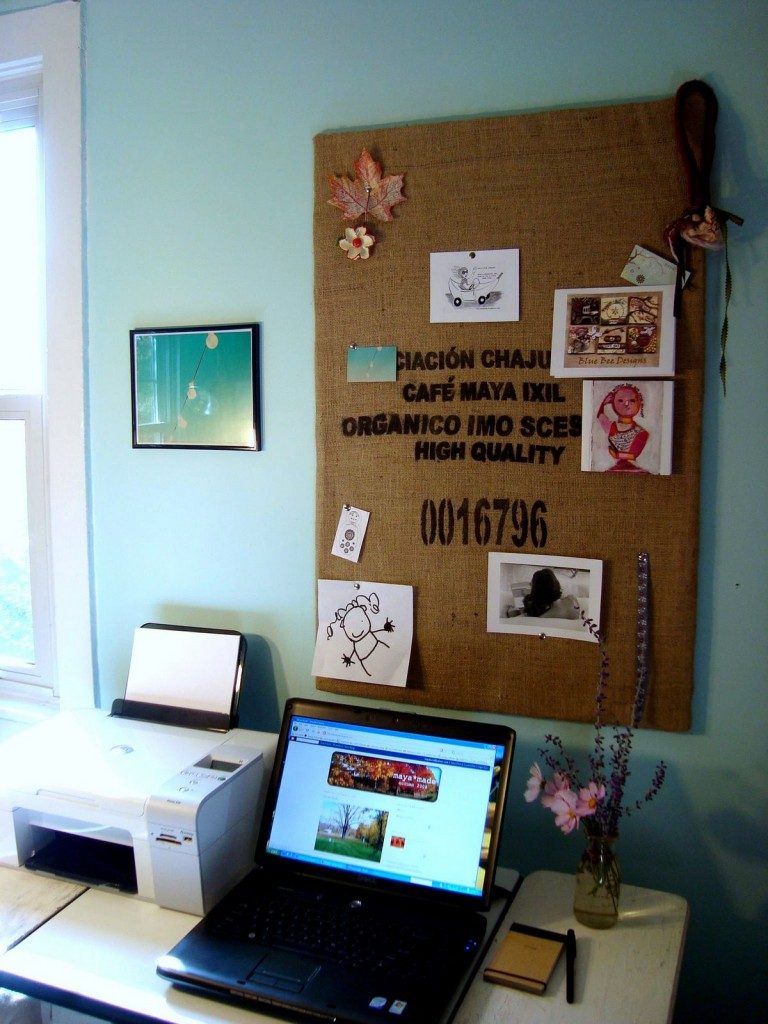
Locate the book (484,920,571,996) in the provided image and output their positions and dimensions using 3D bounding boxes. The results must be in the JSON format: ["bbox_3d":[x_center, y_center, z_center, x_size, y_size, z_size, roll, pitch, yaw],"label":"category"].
[{"bbox_3d":[0.192,0.577,1.085,0.112,0.026,0.132,-1,11,17],"label":"book"}]

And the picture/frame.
[{"bbox_3d":[-0.337,-0.235,1.543,0.225,0.200,0.016,3,9,22],"label":"picture/frame"}]
